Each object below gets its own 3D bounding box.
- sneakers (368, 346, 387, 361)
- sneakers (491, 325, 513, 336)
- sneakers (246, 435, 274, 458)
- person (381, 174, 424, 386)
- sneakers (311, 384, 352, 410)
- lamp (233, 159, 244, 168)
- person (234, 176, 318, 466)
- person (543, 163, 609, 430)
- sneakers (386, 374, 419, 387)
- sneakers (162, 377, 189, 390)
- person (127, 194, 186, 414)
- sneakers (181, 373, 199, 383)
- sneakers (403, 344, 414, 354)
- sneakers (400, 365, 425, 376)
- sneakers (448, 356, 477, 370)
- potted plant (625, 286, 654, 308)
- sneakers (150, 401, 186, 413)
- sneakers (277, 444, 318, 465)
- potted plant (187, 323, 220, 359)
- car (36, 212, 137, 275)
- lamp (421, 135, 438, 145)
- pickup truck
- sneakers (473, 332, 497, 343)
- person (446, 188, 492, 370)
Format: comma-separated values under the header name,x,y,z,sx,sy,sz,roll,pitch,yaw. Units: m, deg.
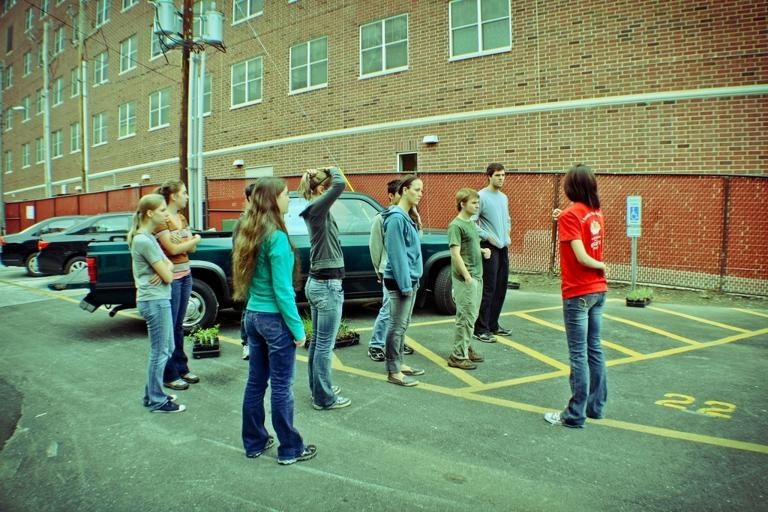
name,x,y,z,sx,sy,sz,roll,pitch,yaw
sneakers,-0.097,1.461,10.300,0.133,0.128,0.317,-4,-1,-28
sneakers,1.973,1.230,11.393,0.262,0.095,0.150,0,0,-7
sneakers,-1.424,2.220,8.112,0.147,0.160,0.373,5,11,31
person,0.245,0.331,9.507,0.482,2.892,0.626,1,1,26
sneakers,-0.606,1.853,9.020,0.627,0.259,0.205,-5,9,-39
lamp,-5.211,-3.359,24.803,0.281,0.310,0.372,-1,0,-10
person,-1.273,0.743,7.876,0.822,3.264,0.294,1,1,-5
person,2.427,0.486,8.533,0.635,3.247,0.455,1,1,17
sneakers,0.262,1.705,9.531,0.314,0.096,0.173,0,1,28
sneakers,-2.828,1.737,9.401,0.308,0.109,0.138,1,2,-10
person,-2.926,0.587,8.884,0.650,2.794,0.333,1,1,-9
sneakers,-2.688,1.698,9.613,0.209,0.076,0.117,2,4,26
sneakers,0.378,1.435,10.644,0.102,0.105,0.278,2,3,16
sneakers,0.414,1.630,9.845,0.344,0.100,0.130,1,-1,-9
sneakers,1.130,1.542,9.956,0.361,0.142,0.175,-1,0,14
potted plant,4.886,0.766,13.155,0.338,0.221,0.502,3,7,29
sneakers,-2.741,1.939,8.807,0.442,0.160,0.151,1,-2,-9
sneakers,-0.979,2.278,7.991,0.443,0.186,0.175,-10,10,-37
potted plant,-2.798,1.253,10.765,0.601,0.377,0.658,-2,25,-19
car,-7.847,-0.371,17.654,3.800,1.266,1.660,-9,8,-27
lamp,1.259,-3.273,19.282,0.255,0.269,0.542,0,1,-42
pickup truck,-2.190,-0.032,12.255,6.396,1.914,2.666,-4,4,-19
sneakers,1.619,1.318,11.071,0.344,0.141,0.143,-1,-2,10
person,1.167,0.328,9.918,0.450,2.606,0.494,1,1,10
